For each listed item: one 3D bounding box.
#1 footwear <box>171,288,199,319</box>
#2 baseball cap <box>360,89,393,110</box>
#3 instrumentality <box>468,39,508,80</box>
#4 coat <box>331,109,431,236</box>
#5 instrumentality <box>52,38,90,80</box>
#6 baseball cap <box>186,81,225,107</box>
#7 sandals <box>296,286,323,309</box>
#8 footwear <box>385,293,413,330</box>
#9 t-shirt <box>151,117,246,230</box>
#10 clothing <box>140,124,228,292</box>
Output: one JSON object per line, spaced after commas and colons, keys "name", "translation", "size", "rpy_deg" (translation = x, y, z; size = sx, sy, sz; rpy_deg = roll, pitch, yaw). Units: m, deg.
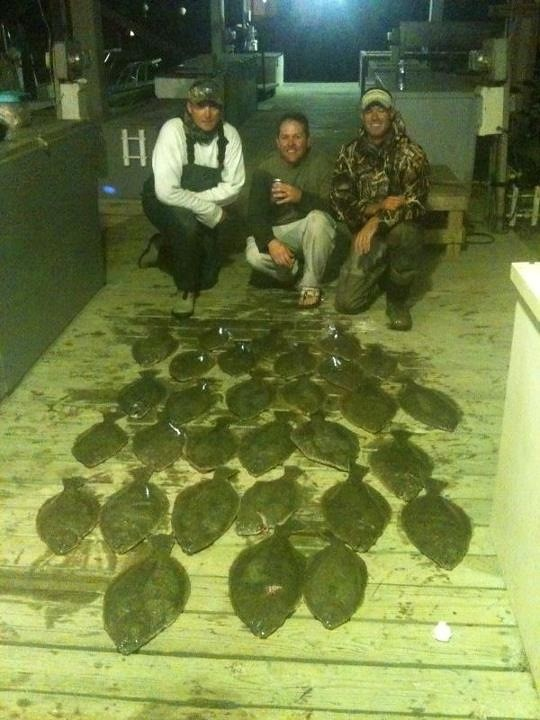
{"name": "footwear", "translation": [-0.587, -0.359, 4.330], "size": [0.096, 0.109, 0.255], "rpy_deg": [1, 22, -4]}
{"name": "baseball cap", "translation": [0.646, -1.592, 3.957], "size": [0.194, 0.123, 0.204], "rpy_deg": [4, 26, 10]}
{"name": "instrumentality", "translation": [1.846, -2.547, 5.505], "size": [0.331, 0.332, 0.259], "rpy_deg": [10, 28, 21]}
{"name": "coat", "translation": [0.727, -1.162, 4.241], "size": [0.653, 0.732, 0.463], "rpy_deg": [18, 39, 27]}
{"name": "instrumentality", "translation": [-1.353, -2.023, 4.376], "size": [0.333, 0.277, 0.232], "rpy_deg": [-3, 30, -16]}
{"name": "baseball cap", "translation": [-0.418, -1.694, 4.129], "size": [0.162, 0.104, 0.216], "rpy_deg": [2, 23, -10]}
{"name": "sandals", "translation": [0.270, -0.444, 4.437], "size": [0.162, 0.173, 0.265], "rpy_deg": [0, 25, 3]}
{"name": "footwear", "translation": [0.825, -0.296, 4.208], "size": [0.167, 0.067, 0.247], "rpy_deg": [-3, 44, -4]}
{"name": "t-shirt", "translation": [-0.480, -1.246, 4.301], "size": [0.598, 0.729, 0.248], "rpy_deg": [4, -9, -10]}
{"name": "clothing", "translation": [-0.564, -0.963, 4.526], "size": [0.519, 1.257, 0.452], "rpy_deg": [-4, 19, -3]}
